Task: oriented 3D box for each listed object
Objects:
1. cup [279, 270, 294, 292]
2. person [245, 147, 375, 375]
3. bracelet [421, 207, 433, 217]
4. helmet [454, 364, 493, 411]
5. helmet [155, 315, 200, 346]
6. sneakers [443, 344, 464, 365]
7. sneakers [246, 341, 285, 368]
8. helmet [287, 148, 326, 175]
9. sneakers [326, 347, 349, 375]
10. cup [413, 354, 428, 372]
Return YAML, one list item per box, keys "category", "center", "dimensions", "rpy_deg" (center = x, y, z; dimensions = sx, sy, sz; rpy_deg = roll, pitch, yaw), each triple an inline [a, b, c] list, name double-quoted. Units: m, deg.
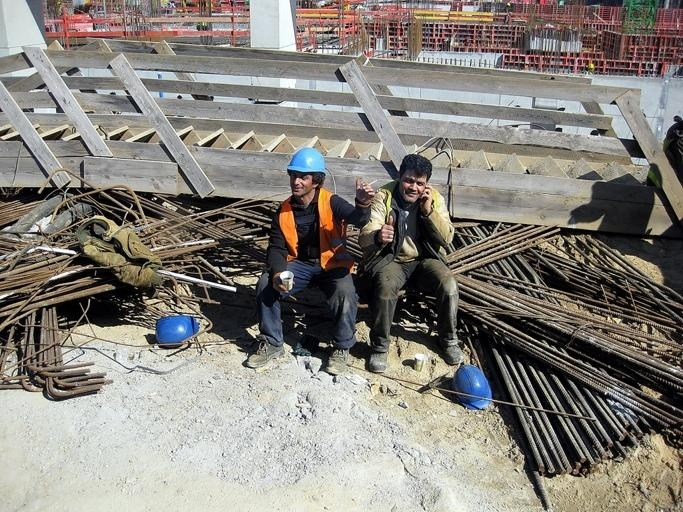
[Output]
- category: "cup"
  center: [-0.418, 0.185, 3.886]
  dimensions: [0.152, 0.109, 0.137]
  rpy_deg: [-4, 41, 8]
- category: "person"
  center: [-0.229, 0.055, 4.046]
  dimensions: [0.887, 1.605, 1.029]
  rpy_deg: [7, 36, 10]
- category: "bracelet"
  center: [0.682, -0.351, 4.057]
  dimensions: [0.088, 0.096, 0.060]
  rpy_deg: [4, 35, 6]
- category: "helmet"
  center: [0.977, 0.985, 3.942]
  dimensions: [0.257, 0.179, 0.335]
  rpy_deg: [-34, 60, -5]
- category: "helmet"
  center: [-1.380, 0.613, 4.305]
  dimensions: [0.333, 0.155, 0.243]
  rpy_deg: [-10, 34, -15]
- category: "sneakers"
  center: [0.917, 0.807, 4.199]
  dimensions: [0.118, 0.088, 0.208]
  rpy_deg: [-23, 39, -2]
- category: "sneakers"
  center: [-0.590, 0.744, 4.172]
  dimensions: [0.379, 0.169, 0.143]
  rpy_deg: [-19, 34, -34]
- category: "helmet"
  center: [-0.252, -0.722, 4.009]
  dimensions: [0.228, 0.128, 0.275]
  rpy_deg: [23, 16, 27]
- category: "sneakers"
  center: [-0.031, 0.828, 4.050]
  dimensions: [0.115, 0.109, 0.282]
  rpy_deg: [5, 8, 13]
- category: "cup"
  center: [0.635, 0.863, 4.154]
  dimensions: [0.095, 0.123, 0.091]
  rpy_deg: [5, 38, -4]
